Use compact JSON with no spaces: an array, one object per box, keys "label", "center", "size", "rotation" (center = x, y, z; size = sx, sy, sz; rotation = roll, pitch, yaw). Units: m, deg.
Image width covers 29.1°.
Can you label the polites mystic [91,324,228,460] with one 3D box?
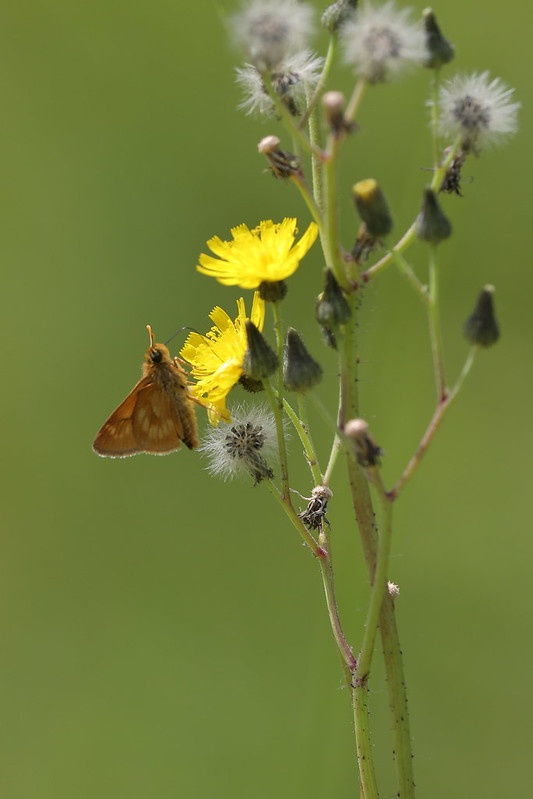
[{"label":"polites mystic","center":[-0.308,-0.058,2.468],"size":[0.238,0.239,0.360],"rotation":[-4,-45,-26]}]

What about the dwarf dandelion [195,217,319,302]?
[{"label":"dwarf dandelion","center":[0.006,-0.203,1.644],"size":[0.202,0.102,0.203],"rotation":[-8,-18,-6]}]

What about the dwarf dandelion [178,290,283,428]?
[{"label":"dwarf dandelion","center":[-0.052,-0.054,1.782],"size":[0.070,0.205,0.201],"rotation":[15,-35,-26]}]
